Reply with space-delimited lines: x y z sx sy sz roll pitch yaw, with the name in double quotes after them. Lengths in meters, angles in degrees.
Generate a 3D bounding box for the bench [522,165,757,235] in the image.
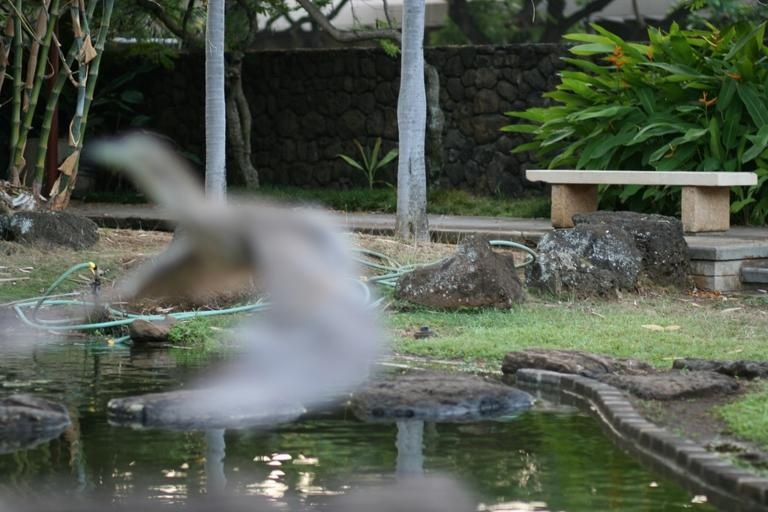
3.177 -0.659 19.110 2.489 0.814 0.911 -1 3 32 "bench"
